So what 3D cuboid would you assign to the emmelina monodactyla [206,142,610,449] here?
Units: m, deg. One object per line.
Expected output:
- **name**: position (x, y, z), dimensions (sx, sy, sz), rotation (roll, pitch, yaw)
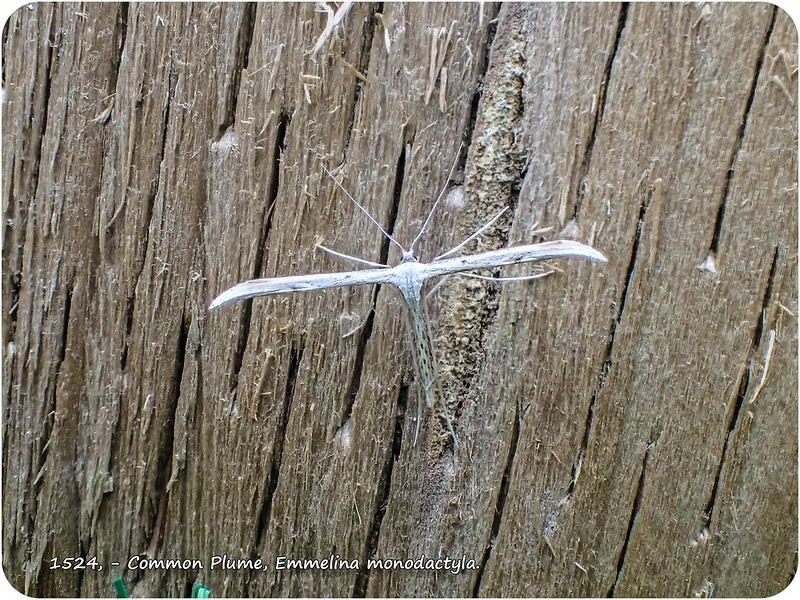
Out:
- **emmelina monodactyla**: position (0.054, -0.071, 3.822), dimensions (1.131, 0.210, 1.019), rotation (-6, -93, 4)
